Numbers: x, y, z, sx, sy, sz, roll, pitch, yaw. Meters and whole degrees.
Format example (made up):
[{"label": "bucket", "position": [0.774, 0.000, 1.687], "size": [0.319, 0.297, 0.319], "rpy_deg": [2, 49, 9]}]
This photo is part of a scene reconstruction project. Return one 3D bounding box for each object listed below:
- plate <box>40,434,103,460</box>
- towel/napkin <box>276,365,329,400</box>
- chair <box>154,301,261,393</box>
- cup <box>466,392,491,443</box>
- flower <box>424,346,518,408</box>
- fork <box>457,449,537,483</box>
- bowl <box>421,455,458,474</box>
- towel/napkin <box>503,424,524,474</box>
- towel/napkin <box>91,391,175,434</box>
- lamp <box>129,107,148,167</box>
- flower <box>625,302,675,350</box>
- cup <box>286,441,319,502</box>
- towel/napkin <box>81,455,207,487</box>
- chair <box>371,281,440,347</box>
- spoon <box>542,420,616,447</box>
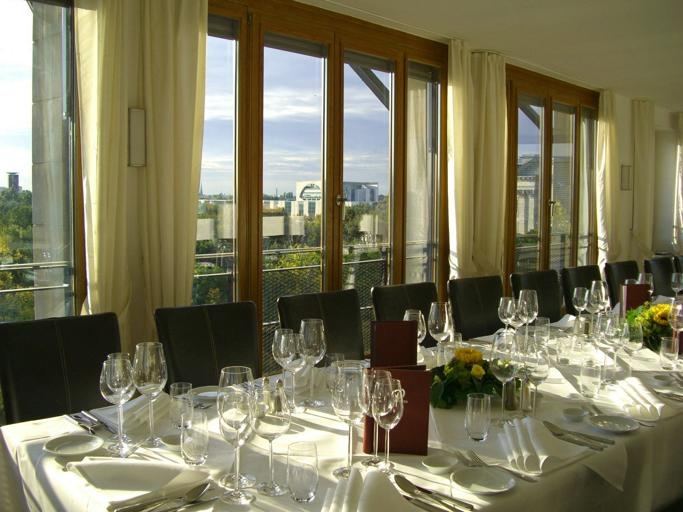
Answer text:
[{"label": "plate", "position": [-0.893, 0.626, 1.860], "size": [0.085, 0.014, 0.095], "rpy_deg": [7, 10, 13]}, {"label": "towel/napkin", "position": [-0.165, 0.492, 2.372], "size": [0.162, 0.060, 0.163], "rpy_deg": [4, 2, 42]}, {"label": "chair", "position": [-0.692, 0.440, 2.927], "size": [0.402, 0.640, 0.395], "rpy_deg": [2, -9, -35]}, {"label": "cup", "position": [0.453, 0.525, 1.849], "size": [0.072, 0.147, 0.175], "rpy_deg": [-3, 0, 16]}, {"label": "flower", "position": [0.485, 0.431, 2.250], "size": [0.242, 0.151, 0.254], "rpy_deg": [-3, 0, -20]}, {"label": "fork", "position": [0.496, 0.664, 1.776], "size": [0.051, 0.042, 0.262], "rpy_deg": [-7, 5, -28]}, {"label": "bowl", "position": [0.318, 0.662, 1.793], "size": [0.120, 0.048, 0.091], "rpy_deg": [-4, 0, 4]}, {"label": "towel/napkin", "position": [0.565, 0.624, 1.840], "size": [0.022, 0.083, 0.075], "rpy_deg": [-23, -14, 40]}, {"label": "towel/napkin", "position": [-0.747, 0.584, 2.080], "size": [0.156, 0.059, 0.160], "rpy_deg": [6, 4, 36]}, {"label": "lamp", "position": [-1.384, -0.795, 3.785], "size": [0.129, 0.413, 0.036], "rpy_deg": [-3, 1, -38]}, {"label": "flower", "position": [1.497, 0.347, 2.711], "size": [0.205, 0.240, 0.205], "rpy_deg": [-2, 5, -30]}, {"label": "cup", "position": [-0.115, 0.615, 1.639], "size": [0.095, 0.179, 0.171], "rpy_deg": [-3, 0, -5]}, {"label": "towel/napkin", "position": [-0.606, 0.638, 1.651], "size": [0.204, 0.049, 0.145], "rpy_deg": [1, -6, -28]}, {"label": "chair", "position": [0.382, 0.342, 3.418], "size": [0.253, 0.513, 0.274], "rpy_deg": [0, -3, -22]}, {"label": "spoon", "position": [0.827, 0.623, 1.958], "size": [0.072, 0.045, 0.256], "rpy_deg": [-5, 7, -32]}]
